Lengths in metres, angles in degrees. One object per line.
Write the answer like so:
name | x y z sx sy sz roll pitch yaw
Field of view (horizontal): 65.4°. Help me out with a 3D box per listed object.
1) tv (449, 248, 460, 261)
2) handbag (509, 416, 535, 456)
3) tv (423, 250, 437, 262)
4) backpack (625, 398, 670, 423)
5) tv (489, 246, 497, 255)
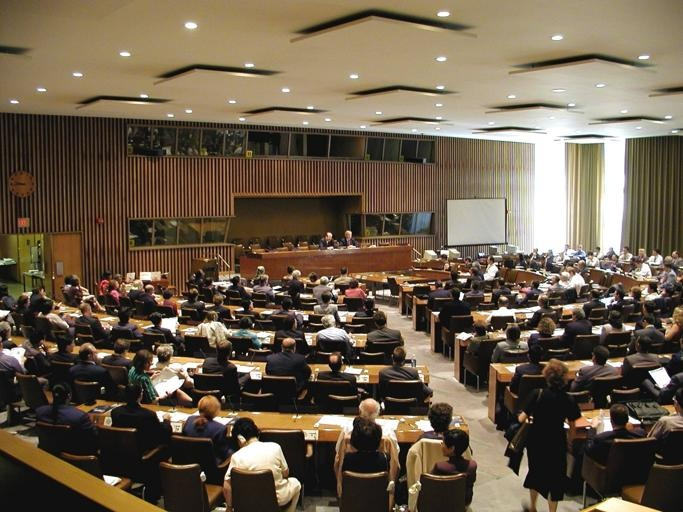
tv | 4.729 -0.083 22.451 0.333 0.509 0.571 -5 11 -7
handbag | 2.153 2.152 6.441 0.179 0.584 0.454 0 2 3
tv | 3.506 -0.028 21.233 0.477 0.291 0.443 0 6 -9
backpack | 3.732 1.892 6.537 0.428 0.213 0.319 0 1 -5
tv | 7.186 -0.282 25.349 0.266 0.291 0.460 -2 -4 27
